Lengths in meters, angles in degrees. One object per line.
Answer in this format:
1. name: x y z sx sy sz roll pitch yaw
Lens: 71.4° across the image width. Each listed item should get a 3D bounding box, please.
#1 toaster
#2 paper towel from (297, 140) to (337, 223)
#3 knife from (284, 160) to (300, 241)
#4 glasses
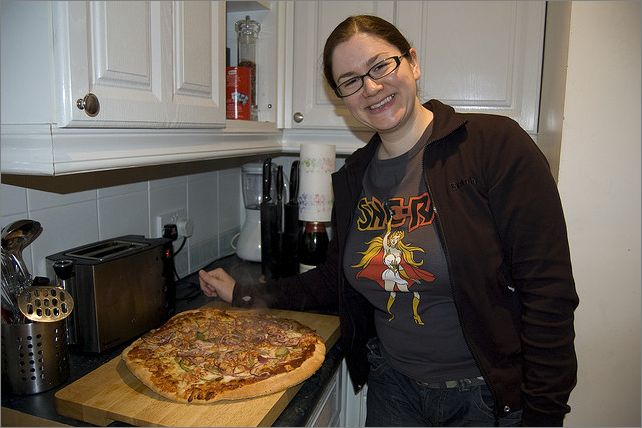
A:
1. toaster: -0.728 0.270 1.589 0.218 0.290 0.416 3 8 10
2. paper towel: -0.020 -0.145 2.088 0.247 0.329 0.253 2 7 18
3. knife: -0.131 -0.052 2.058 0.073 0.387 0.075 10 21 12
4. glasses: 0.139 -0.465 1.446 0.158 0.044 0.162 -29 6 37
